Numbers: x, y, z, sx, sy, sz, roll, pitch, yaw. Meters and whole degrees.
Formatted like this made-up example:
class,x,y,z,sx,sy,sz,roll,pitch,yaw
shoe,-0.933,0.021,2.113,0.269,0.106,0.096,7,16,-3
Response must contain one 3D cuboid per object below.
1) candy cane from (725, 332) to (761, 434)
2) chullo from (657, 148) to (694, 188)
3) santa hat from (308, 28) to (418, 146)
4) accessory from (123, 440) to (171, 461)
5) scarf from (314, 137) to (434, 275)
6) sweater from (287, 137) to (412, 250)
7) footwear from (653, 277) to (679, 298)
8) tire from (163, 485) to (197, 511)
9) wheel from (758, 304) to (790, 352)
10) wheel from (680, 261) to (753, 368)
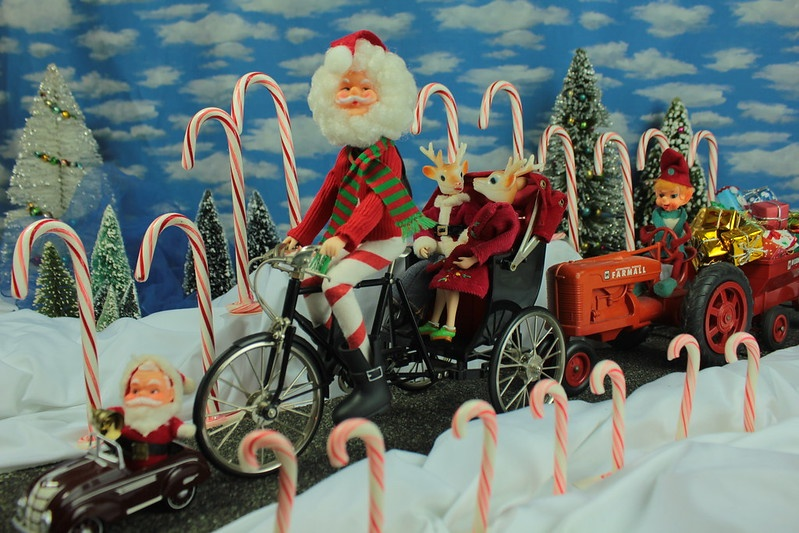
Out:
class,x,y,z,sx,sy,sz,roll,pitch,yaw
candy cane,2.401,0.823,5.929,0.246,0.716,0.154,-1,5,3
chullo,2.482,-0.841,7.671,0.344,0.333,0.324,-4,-14,41
santa hat,-0.261,-1.330,6.600,0.872,0.955,0.772,-6,-1,-42
accessory,-1.764,1.276,5.870,0.324,0.149,0.053,-2,5,-16
scarf,-0.356,-0.385,6.450,0.597,1.094,1.018,5,-3,-37
sweater,-0.420,-0.551,6.444,0.812,0.813,0.797,0,12,-8
footwear,2.292,0.188,7.267,0.191,0.160,0.154,-21,35,-38
tire,-1.561,1.639,5.937,0.177,0.179,0.062,12,3,-29
wheel,3.423,0.572,7.703,0.342,0.357,0.139,-19,19,-37
wheel,2.630,0.404,6.992,0.789,0.870,0.225,-11,15,-37
